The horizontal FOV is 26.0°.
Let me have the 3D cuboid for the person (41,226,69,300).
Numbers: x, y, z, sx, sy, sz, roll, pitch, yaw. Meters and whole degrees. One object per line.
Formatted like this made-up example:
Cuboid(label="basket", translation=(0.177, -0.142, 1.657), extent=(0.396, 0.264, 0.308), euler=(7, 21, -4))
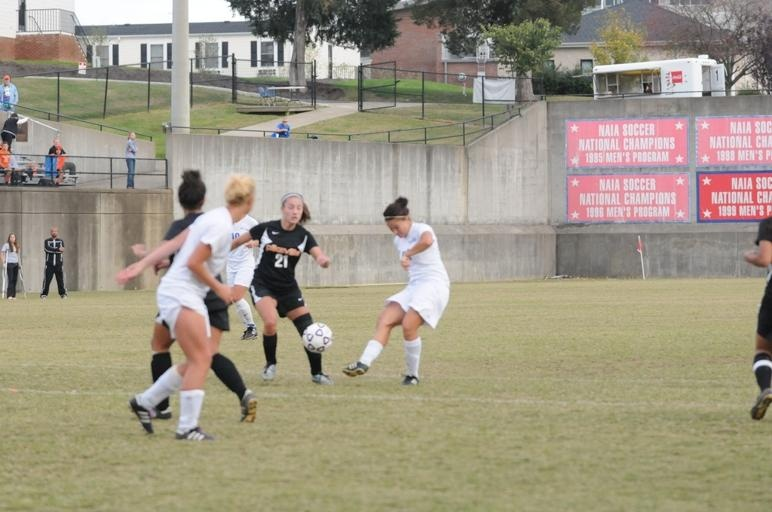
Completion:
Cuboid(label="person", translation=(-14.388, 0.125, 72.511), extent=(1.234, 2.950, 1.062), euler=(0, 2, -13))
